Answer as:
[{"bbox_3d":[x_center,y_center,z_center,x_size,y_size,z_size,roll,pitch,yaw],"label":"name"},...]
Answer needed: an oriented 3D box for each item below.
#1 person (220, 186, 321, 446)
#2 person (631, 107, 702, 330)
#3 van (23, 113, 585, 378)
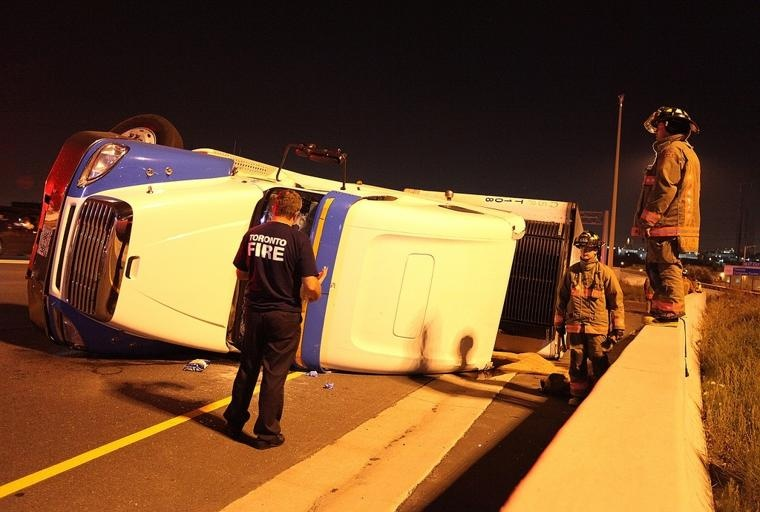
[{"bbox_3d":[-1.022,0.571,4.894,0.817,2.310,0.731,10,13,25],"label":"person"},{"bbox_3d":[3.399,-0.457,6.069,0.709,2.461,0.654,12,14,31],"label":"person"},{"bbox_3d":[-0.689,0.171,7.464,6.924,2.836,4.306,6,0,-18],"label":"van"}]
